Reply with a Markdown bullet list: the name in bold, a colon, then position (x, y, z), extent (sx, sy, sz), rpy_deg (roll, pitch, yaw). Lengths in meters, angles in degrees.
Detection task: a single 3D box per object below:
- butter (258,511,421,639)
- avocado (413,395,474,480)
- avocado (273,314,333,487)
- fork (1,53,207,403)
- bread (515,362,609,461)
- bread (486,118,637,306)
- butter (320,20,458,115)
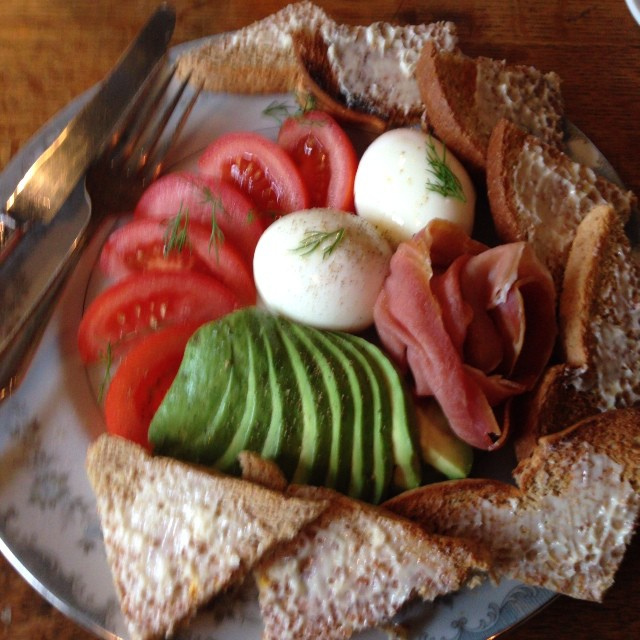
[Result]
- **butter**: position (0.038, 0.472, 1.273), extent (0.302, 0.087, 0.182), rpy_deg (-15, 65, -13)
- **avocado**: position (0.255, 0.244, 1.402), extent (0.088, 0.096, 0.108), rpy_deg (-16, 50, -34)
- **avocado**: position (-0.020, 0.183, 1.438), extent (0.206, 0.204, 0.209), rpy_deg (-15, 48, -17)
- **fork**: position (-0.472, -0.183, 1.565), extent (0.081, 0.054, 0.865), rpy_deg (24, 83, 0)
- **bread**: position (0.492, 0.170, 1.405), extent (0.154, 0.050, 0.213), rpy_deg (-10, 77, 14)
- **bread**: position (0.468, -0.270, 1.644), extent (0.330, 0.365, 0.448), rpy_deg (8, 40, -8)
- **butter**: position (0.163, -0.567, 1.658), extent (0.330, 0.092, 0.313), rpy_deg (-4, 68, -18)
